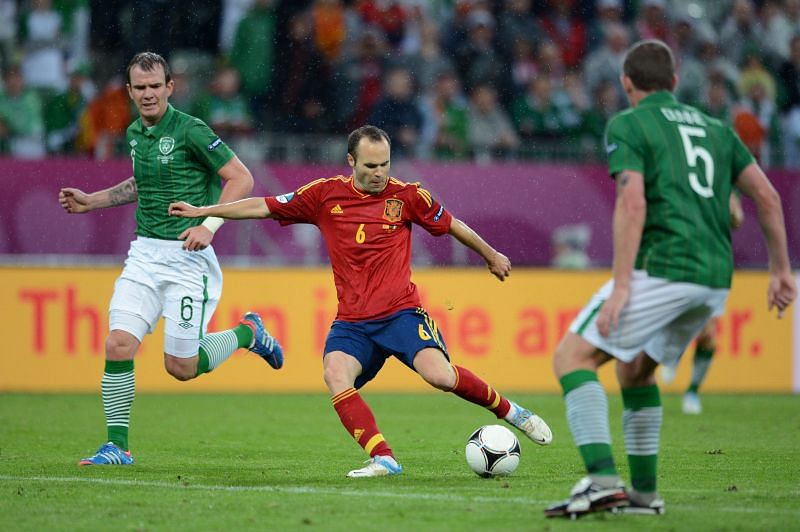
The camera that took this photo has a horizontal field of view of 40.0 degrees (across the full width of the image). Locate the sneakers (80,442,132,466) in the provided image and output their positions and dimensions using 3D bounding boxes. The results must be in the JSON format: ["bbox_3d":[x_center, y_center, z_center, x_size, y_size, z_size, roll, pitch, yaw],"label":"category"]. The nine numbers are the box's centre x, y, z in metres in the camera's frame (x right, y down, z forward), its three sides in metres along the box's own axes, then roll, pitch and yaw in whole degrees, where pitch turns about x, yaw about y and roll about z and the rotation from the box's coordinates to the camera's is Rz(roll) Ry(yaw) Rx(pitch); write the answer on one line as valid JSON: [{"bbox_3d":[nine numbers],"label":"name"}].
[{"bbox_3d":[-2.512,1.643,9.616,0.532,0.250,0.186,5,-7,-20],"label":"sneakers"}]

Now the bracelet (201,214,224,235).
[{"bbox_3d":[-1.632,-0.371,9.618,0.148,0.133,0.166,44,10,-23],"label":"bracelet"}]

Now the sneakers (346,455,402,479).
[{"bbox_3d":[-0.202,1.679,9.160,0.490,0.215,0.174,1,-7,-8],"label":"sneakers"}]
